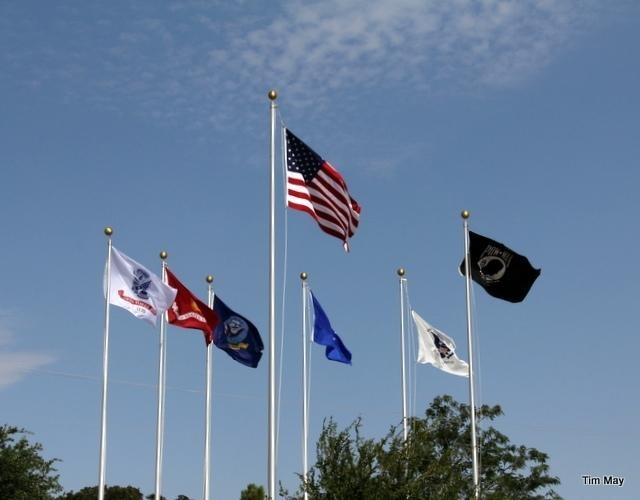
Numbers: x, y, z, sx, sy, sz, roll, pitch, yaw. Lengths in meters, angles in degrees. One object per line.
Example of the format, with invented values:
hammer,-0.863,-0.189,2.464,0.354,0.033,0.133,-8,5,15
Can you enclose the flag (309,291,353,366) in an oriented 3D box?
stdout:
flag,0.655,4.248,56.025,1.845,4.840,2.043,9,-18,-28

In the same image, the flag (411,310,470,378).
flag,5.550,4.491,56.451,2.223,3.273,1.055,-2,-27,3

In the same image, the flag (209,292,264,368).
flag,-3.848,3.724,54.491,2.239,3.445,1.019,3,-27,-6

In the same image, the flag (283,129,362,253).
flag,-0.066,-2.120,44.845,1.280,4.022,3.547,-21,-33,35

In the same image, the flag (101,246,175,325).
flag,-7.435,1.470,49.633,3.170,2.968,0.281,8,10,17
